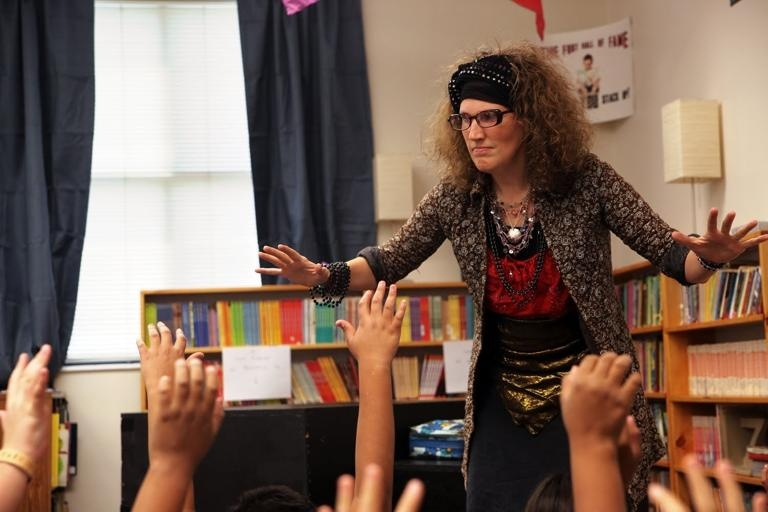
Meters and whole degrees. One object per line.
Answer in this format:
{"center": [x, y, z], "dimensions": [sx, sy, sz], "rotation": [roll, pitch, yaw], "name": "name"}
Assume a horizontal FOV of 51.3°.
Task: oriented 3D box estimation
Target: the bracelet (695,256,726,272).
{"center": [1.180, 0.020, 2.880], "dimensions": [0.065, 0.024, 0.060], "rotation": [14, 11, 37], "name": "bracelet"}

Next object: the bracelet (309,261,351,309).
{"center": [-0.186, 0.095, 3.279], "dimensions": [0.173, 0.210, 0.086], "rotation": [-16, -19, 35], "name": "bracelet"}
